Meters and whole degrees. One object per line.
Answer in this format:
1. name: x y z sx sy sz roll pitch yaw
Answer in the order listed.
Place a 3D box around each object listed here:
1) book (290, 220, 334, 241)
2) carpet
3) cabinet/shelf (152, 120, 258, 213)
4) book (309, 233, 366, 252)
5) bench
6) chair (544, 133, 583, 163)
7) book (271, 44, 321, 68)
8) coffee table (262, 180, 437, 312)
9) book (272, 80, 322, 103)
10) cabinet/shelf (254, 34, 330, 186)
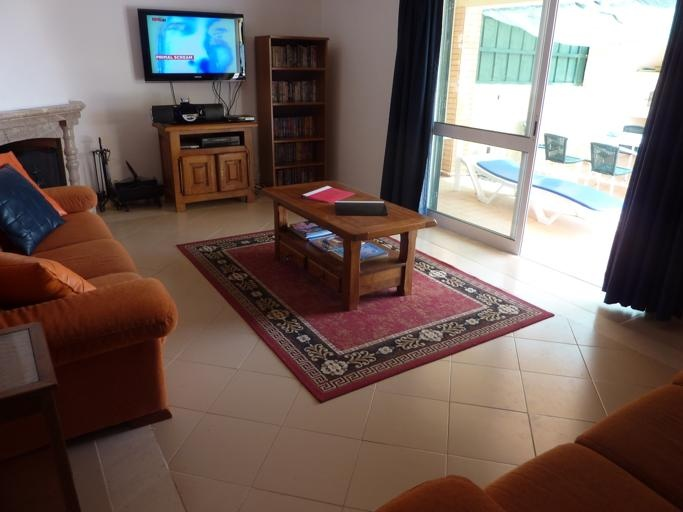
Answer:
1. book: -0.263 -0.210 3.908 0.208 0.050 0.205 -11 24 -36
2. carpet: 0.061 0.189 3.844 1.912 0.089 2.414 -16 29 -30
3. cabinet/shelf: -1.500 -1.013 5.566 0.952 0.865 0.599 -6 7 -13
4. book: -0.083 -0.107 3.730 0.212 0.049 0.234 -20 32 -32
5. bench: 1.997 -0.801 5.076 0.804 0.432 1.649 -20 37 -35
6. chair: 2.551 -1.256 5.469 0.466 0.366 0.323 -14 24 -29
7. book: -0.517 -2.346 5.595 0.622 0.234 0.172 -18 31 -34
8. coffee table: -0.006 -0.135 3.846 0.766 0.614 1.384 -12 25 -28
9. book: -0.547 -1.987 5.751 0.578 0.247 0.248 -6 26 -12
10. cabinet/shelf: -0.537 -1.953 5.745 0.604 1.369 0.325 -8 30 -11
